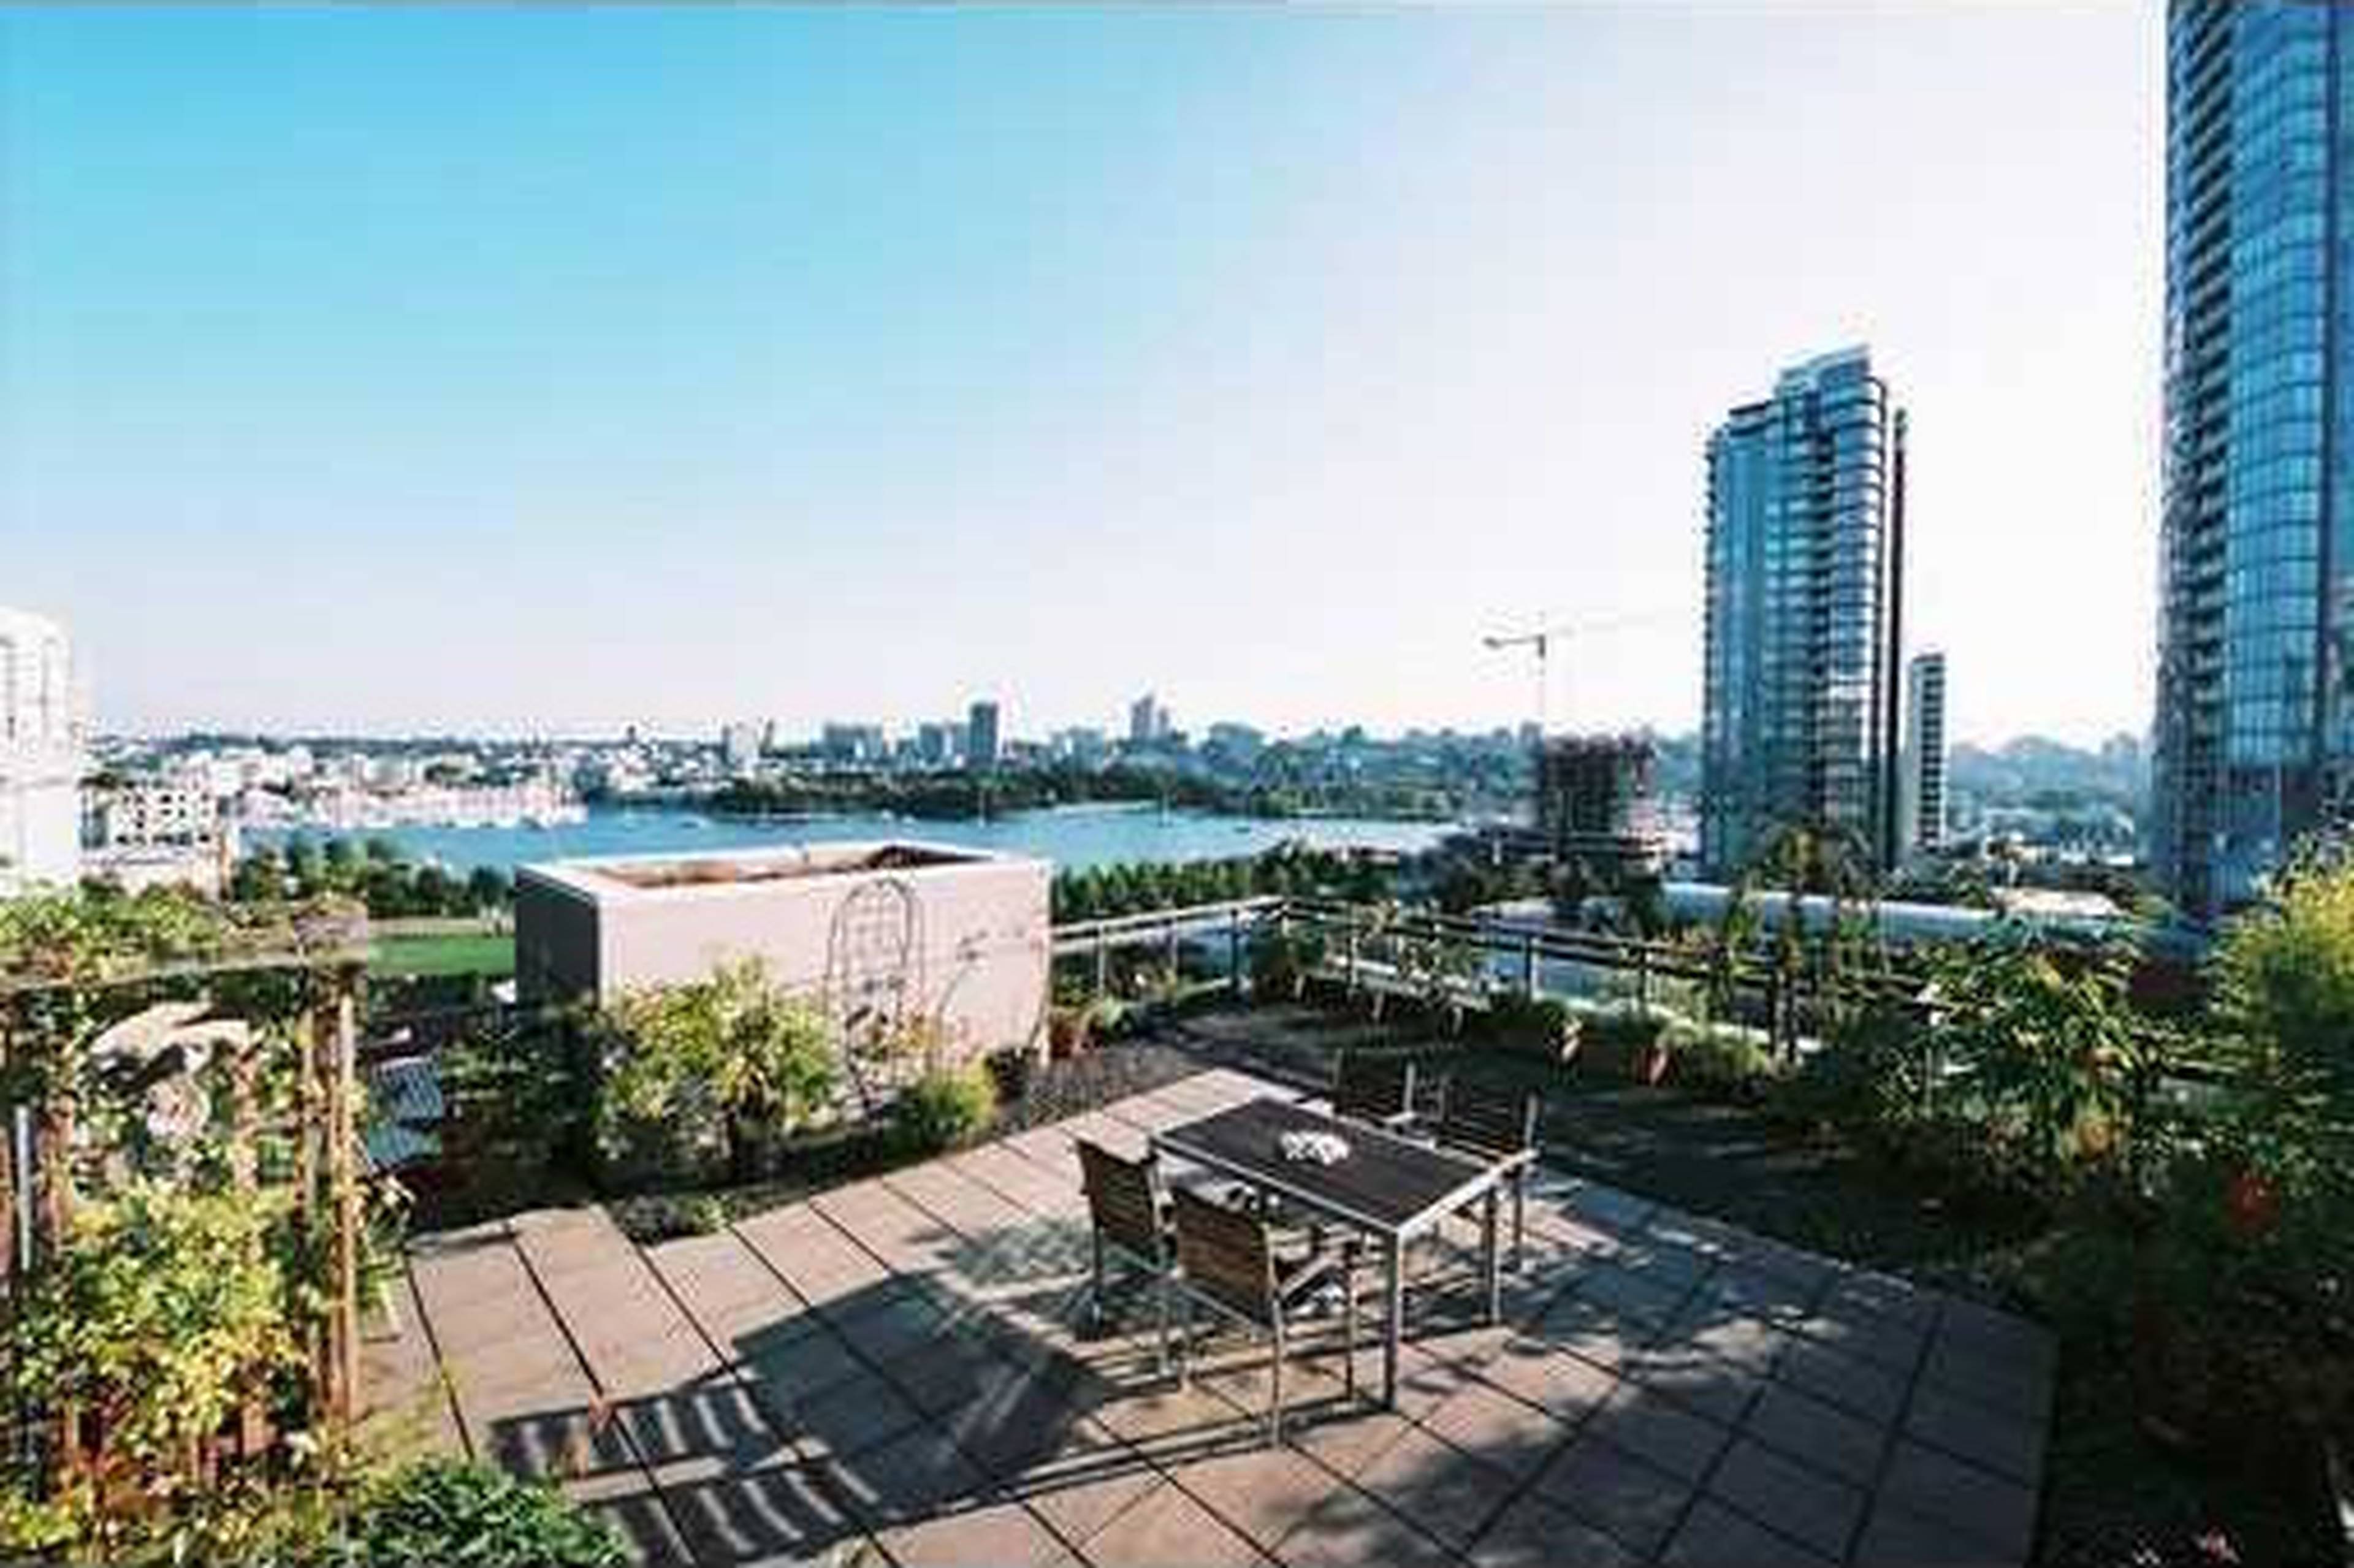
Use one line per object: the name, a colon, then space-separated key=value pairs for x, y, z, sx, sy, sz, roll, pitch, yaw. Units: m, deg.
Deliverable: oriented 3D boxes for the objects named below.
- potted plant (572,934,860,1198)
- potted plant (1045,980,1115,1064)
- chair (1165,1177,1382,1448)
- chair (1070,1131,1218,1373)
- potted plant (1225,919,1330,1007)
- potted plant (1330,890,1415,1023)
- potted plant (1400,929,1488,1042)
potted plant: x=-4.220 y=2.570 z=12.527 sx=2.178 sy=1.866 sz=0.976 roll=-3 pitch=13 yaw=-22
potted plant: x=-1.149 y=2.557 z=15.195 sx=0.681 sy=0.808 sz=0.776 roll=-4 pitch=-5 yaw=37
chair: x=0.724 y=3.661 z=10.529 sx=1.082 sy=1.842 sz=1.315 roll=2 pitch=2 yaw=42
chair: x=-0.067 y=3.490 z=11.061 sx=1.433 sy=2.019 sz=1.291 roll=0 pitch=0 yaw=-44
potted plant: x=1.328 y=2.214 z=17.241 sx=1.015 sy=1.022 sz=0.816 roll=2 pitch=-8 yaw=-6
potted plant: x=2.327 y=2.010 z=16.670 sx=0.786 sy=1.187 sz=1.129 roll=3 pitch=12 yaw=5
potted plant: x=3.117 y=2.342 z=16.191 sx=1.190 sy=1.266 sz=0.952 roll=2 pitch=-7 yaw=-2
